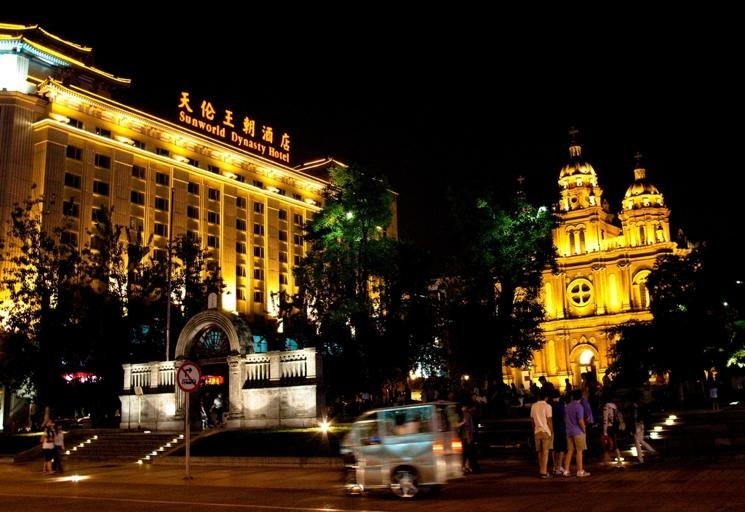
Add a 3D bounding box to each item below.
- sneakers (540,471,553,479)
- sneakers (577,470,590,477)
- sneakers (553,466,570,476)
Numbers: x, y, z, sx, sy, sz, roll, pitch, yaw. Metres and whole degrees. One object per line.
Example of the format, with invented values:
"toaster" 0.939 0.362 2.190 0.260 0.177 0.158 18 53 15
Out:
"sneakers" 6.854 8.654 30.514 0.543 0.221 0.212 -3 1 -16
"sneakers" 8.261 8.591 30.295 0.559 0.233 0.200 1 -3 -9
"sneakers" 7.442 8.593 30.598 0.229 0.256 0.622 -3 -6 33
